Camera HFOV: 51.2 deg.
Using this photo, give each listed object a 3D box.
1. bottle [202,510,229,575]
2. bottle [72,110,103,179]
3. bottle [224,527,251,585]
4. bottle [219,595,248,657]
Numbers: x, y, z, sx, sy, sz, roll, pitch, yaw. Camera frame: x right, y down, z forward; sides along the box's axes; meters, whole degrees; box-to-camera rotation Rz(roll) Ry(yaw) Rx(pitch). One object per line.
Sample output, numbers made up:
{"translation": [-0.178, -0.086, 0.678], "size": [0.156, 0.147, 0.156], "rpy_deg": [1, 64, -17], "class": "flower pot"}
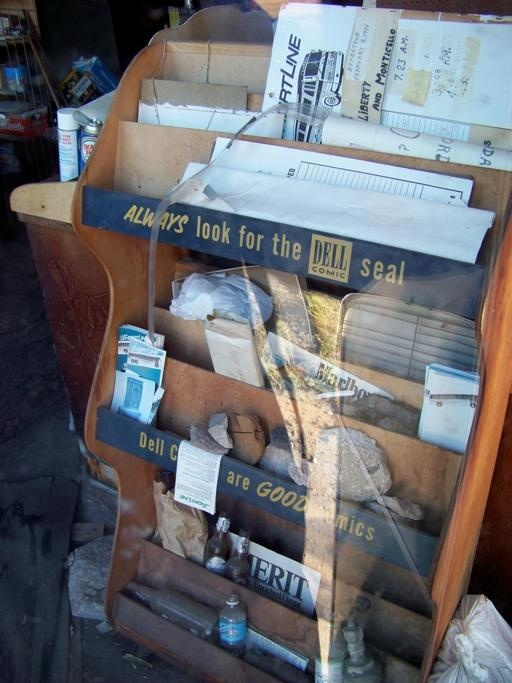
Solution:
{"translation": [-0.099, 0.510, 1.366], "size": [0.067, 0.159, 0.090], "rpy_deg": [7, 32, 6], "class": "bottle"}
{"translation": [-0.419, -0.485, 1.325], "size": [0.047, 0.171, 0.152], "rpy_deg": [-17, 37, -28], "class": "bottle"}
{"translation": [-0.045, 0.540, 1.331], "size": [0.064, 0.119, 0.081], "rpy_deg": [2, 32, -3], "class": "bottle"}
{"translation": [-0.056, 0.694, 1.328], "size": [0.060, 0.144, 0.059], "rpy_deg": [2, 8, 0], "class": "bottle"}
